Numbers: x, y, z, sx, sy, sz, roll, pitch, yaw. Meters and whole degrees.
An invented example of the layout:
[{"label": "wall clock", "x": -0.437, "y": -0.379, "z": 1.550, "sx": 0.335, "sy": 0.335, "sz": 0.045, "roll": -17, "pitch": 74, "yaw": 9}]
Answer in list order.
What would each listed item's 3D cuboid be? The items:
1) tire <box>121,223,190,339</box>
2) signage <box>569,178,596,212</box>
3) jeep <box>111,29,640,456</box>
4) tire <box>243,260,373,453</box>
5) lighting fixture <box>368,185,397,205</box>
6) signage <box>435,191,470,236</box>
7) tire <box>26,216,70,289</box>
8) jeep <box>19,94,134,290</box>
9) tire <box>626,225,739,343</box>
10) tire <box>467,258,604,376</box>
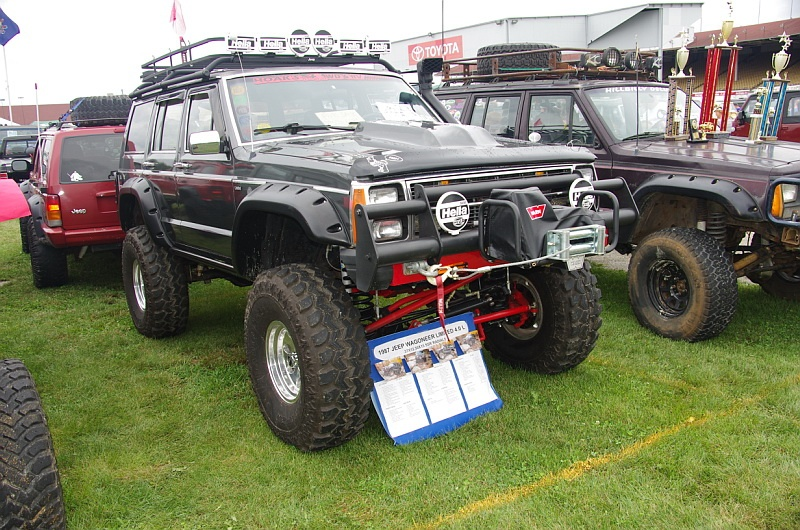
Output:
[{"label": "tire", "x": -3.129, "y": 0.252, "z": 6.581, "sx": 0.504, "sy": 1.420, "sz": 1.511, "roll": -8, "pitch": 23, "yaw": -38}, {"label": "signage", "x": 1.487, "y": -0.579, "z": 4.247, "sx": 0.384, "sy": 0.358, "sz": 0.055, "roll": -1, "pitch": -1, "yaw": -38}, {"label": "jeep", "x": -1.047, "y": -0.754, "z": 6.118, "sx": 3.417, "sy": 3.378, "sz": 6.382, "roll": -14, "pitch": 19, "yaw": -41}, {"label": "tire", "x": -0.831, "y": 0.812, "z": 4.488, "sx": 0.561, "sy": 1.560, "sz": 1.663, "roll": -7, "pitch": 19, "yaw": -36}, {"label": "lighting fixture", "x": -0.127, "y": -0.502, "z": 3.720, "sx": 0.176, "sy": 0.115, "sz": 0.055, "roll": -5, "pitch": 29, "yaw": -17}, {"label": "signage", "x": 0.373, "y": -0.374, "z": 3.804, "sx": 0.349, "sy": 0.327, "sz": 0.046, "roll": -6, "pitch": 5, "yaw": -33}, {"label": "tire", "x": -5.502, "y": -0.189, "z": 8.080, "sx": 0.389, "sy": 1.088, "sz": 1.153, "roll": -7, "pitch": 9, "yaw": -38}, {"label": "jeep", "x": -5.390, "y": -1.497, "z": 9.464, "sx": 2.496, "sy": 2.304, "sz": 4.181, "roll": -8, "pitch": 22, "yaw": -33}, {"label": "tire", "x": 3.103, "y": 0.247, "z": 5.665, "sx": 0.377, "sy": 0.939, "sz": 1.127, "roll": -6, "pitch": 20, "yaw": -27}, {"label": "tire", "x": 1.243, "y": 0.488, "z": 4.799, "sx": 0.381, "sy": 1.112, "sz": 1.185, "roll": -6, "pitch": 5, "yaw": -42}]
